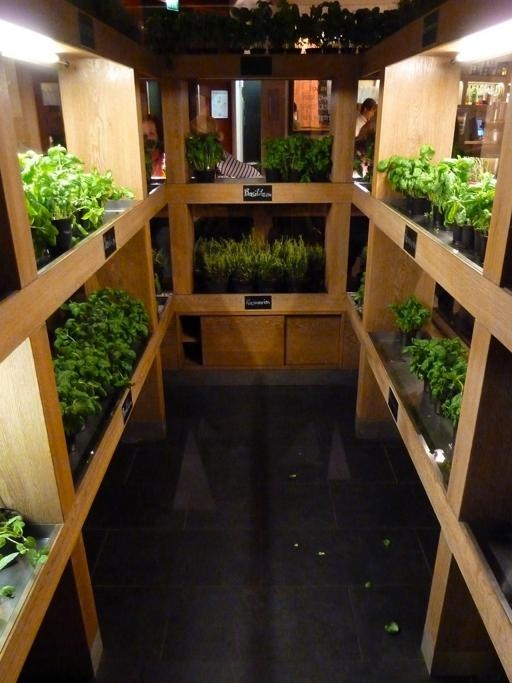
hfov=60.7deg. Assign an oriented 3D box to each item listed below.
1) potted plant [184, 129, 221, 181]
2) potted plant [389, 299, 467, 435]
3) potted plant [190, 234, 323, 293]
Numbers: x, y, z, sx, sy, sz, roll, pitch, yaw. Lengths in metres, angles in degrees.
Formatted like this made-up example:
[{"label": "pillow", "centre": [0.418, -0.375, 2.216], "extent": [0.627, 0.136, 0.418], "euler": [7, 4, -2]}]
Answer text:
[{"label": "potted plant", "centre": [-0.365, -1.326, 3.163], "extent": [0.269, 0.334, 0.237], "euler": [0, 23, -2]}, {"label": "potted plant", "centre": [0.812, 0.098, 2.025], "extent": [0.211, 0.281, 0.750], "euler": [-5, 23, 1]}, {"label": "potted plant", "centre": [0.037, -0.591, 3.459], "extent": [0.699, 0.328, 0.569], "euler": [1, 24, 4]}]
